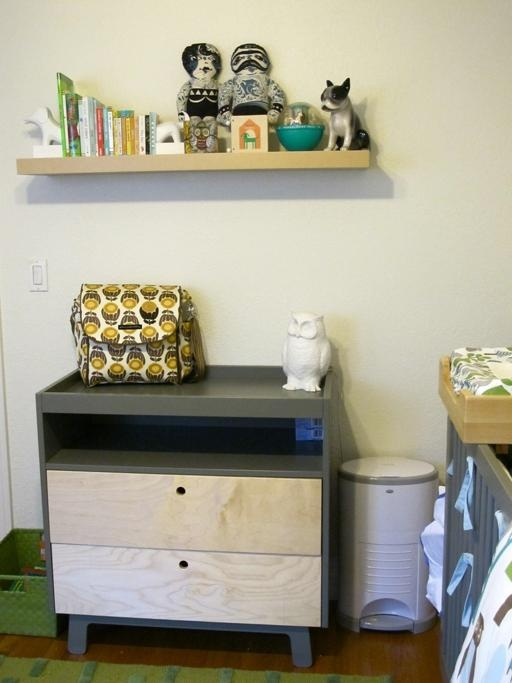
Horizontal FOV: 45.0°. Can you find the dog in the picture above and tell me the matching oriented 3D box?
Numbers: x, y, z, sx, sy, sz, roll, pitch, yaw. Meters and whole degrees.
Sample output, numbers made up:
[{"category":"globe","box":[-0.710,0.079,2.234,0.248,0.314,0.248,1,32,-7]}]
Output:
[{"category":"dog","box":[0.255,-0.622,1.732,0.127,0.185,0.197,1,7,11]}]

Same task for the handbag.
[{"category":"handbag","box":[-0.320,-0.018,1.785,0.477,0.357,0.266,1,14,-5]}]

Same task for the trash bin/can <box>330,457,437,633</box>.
[{"category":"trash bin/can","box":[0.375,0.596,1.947,0.408,0.611,0.414,0,3,5]}]
